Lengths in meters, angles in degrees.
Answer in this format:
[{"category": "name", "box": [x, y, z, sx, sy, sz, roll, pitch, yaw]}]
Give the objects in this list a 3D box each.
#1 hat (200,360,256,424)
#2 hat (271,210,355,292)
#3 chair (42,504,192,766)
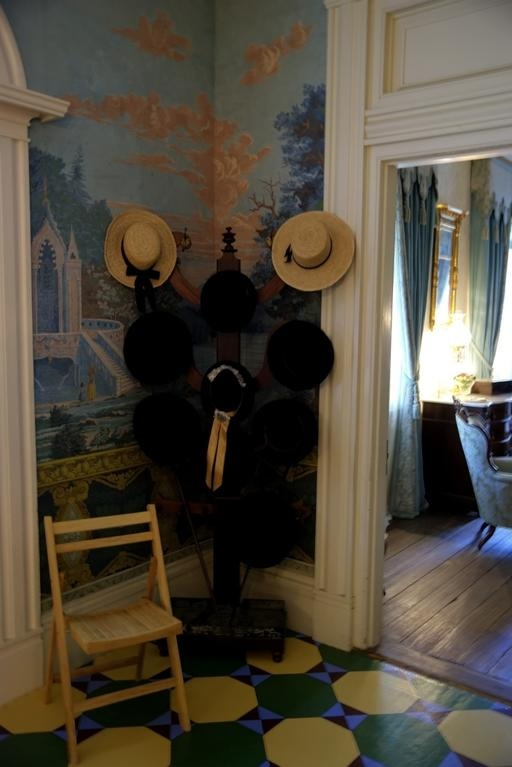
[{"category": "hat", "box": [-0.122, 0.034, 2.772, 0.254, 0.256, 0.226, 1, 3, -4]}, {"category": "hat", "box": [0.220, -0.568, 2.630, 0.258, 0.336, 0.383, -1, 4, -33]}, {"category": "chair", "box": [-0.501, 0.815, 2.275, 0.540, 0.765, 0.836, 0, 3, -18]}]
